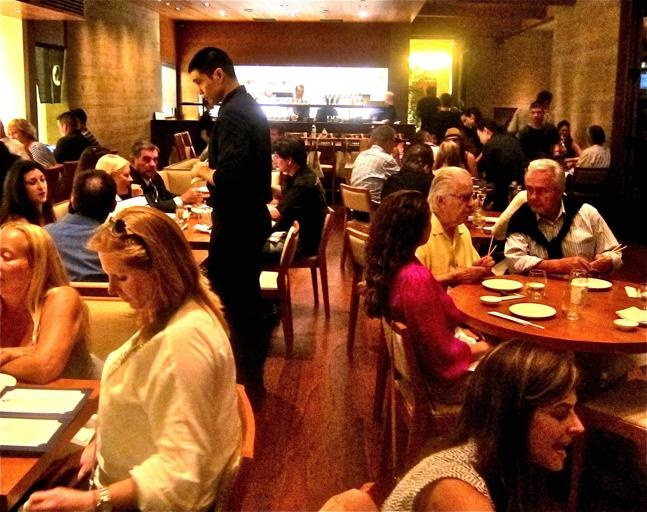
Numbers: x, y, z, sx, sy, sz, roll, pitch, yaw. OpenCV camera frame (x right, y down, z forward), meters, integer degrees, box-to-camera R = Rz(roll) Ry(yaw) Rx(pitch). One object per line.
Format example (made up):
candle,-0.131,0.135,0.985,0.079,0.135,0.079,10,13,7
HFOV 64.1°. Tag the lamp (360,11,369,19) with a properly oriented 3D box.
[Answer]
lamp,1.002,-5.921,12.666,0.305,0.073,0.306,-2,8,-4

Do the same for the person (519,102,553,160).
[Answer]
person,3.070,-1.808,7.526,0.453,0.784,0.803,4,15,23

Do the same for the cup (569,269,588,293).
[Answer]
cup,1.161,0.118,2.372,0.083,0.081,0.085,-2,6,0

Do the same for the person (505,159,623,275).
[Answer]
person,1.465,-0.212,3.137,0.669,0.718,0.441,3,15,16

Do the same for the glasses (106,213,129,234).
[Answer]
glasses,-0.523,-0.085,1.337,0.052,0.052,0.016,13,33,31

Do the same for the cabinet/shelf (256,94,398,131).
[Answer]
cabinet/shelf,0.084,-2.983,10.787,3.174,0.729,2.071,0,10,-1

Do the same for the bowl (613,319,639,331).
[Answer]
bowl,1.324,0.307,2.269,0.094,0.028,0.070,5,16,24
